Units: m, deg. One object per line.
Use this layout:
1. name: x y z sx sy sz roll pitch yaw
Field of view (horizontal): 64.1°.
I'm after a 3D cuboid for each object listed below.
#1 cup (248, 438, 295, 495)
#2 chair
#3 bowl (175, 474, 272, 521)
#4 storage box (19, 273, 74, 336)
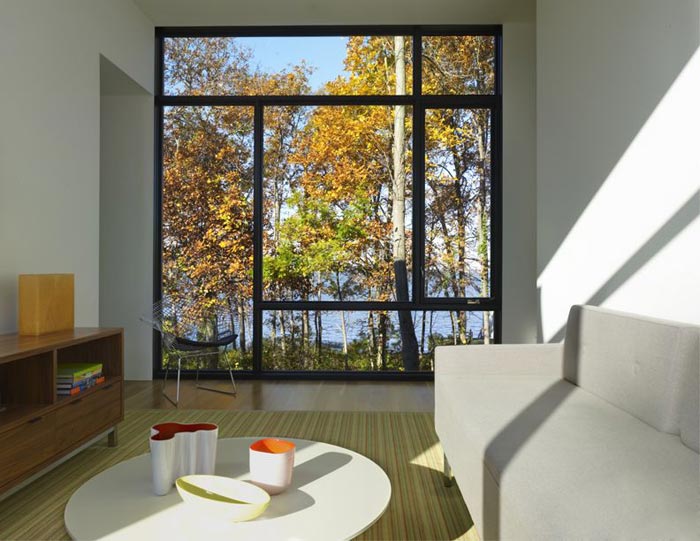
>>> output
1. cup: -0.320 0.860 2.459 0.204 0.196 0.166 -1 -2 17
2. chair: -1.479 0.643 5.148 0.921 1.075 0.798 7 -14 -45
3. bowl: -0.514 0.924 2.291 0.404 0.134 0.186 2 6 23
4. storage box: -1.908 0.216 3.500 0.109 0.359 0.352 -1 -2 12
